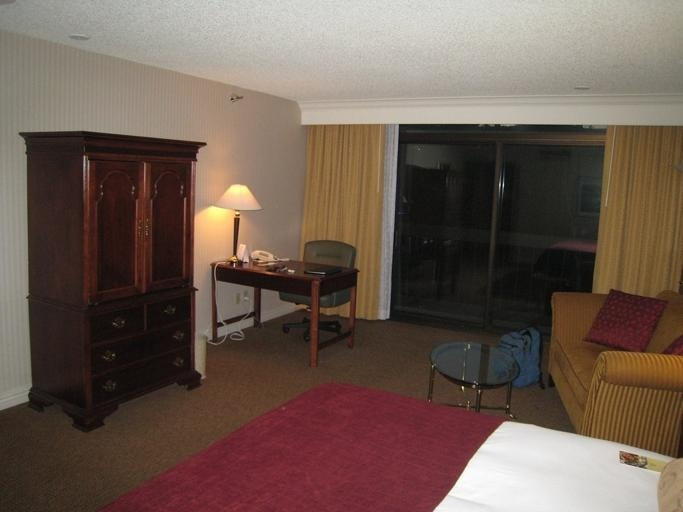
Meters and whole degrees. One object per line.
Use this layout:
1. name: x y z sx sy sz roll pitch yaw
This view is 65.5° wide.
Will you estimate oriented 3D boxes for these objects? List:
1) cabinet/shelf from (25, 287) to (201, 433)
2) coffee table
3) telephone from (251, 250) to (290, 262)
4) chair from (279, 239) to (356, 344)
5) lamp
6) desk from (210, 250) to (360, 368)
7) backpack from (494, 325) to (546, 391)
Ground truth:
1. cabinet/shelf: -2.048 0.755 4.851 1.016 1.184 1.397 3 5 33
2. coffee table: 1.092 1.079 4.427 0.669 0.508 0.681 5 12 23
3. telephone: -0.871 0.007 6.119 0.300 0.102 0.210 -3 2 -4
4. chair: -0.286 0.398 6.340 0.920 1.074 0.881 -4 10 -41
5. lamp: -1.201 -0.389 6.027 0.486 0.853 0.674 -2 14 -16
6. desk: -0.660 0.576 6.072 1.464 0.954 0.924 6 10 24
7. backpack: 1.840 0.999 5.361 0.517 0.654 0.234 -3 -35 33
